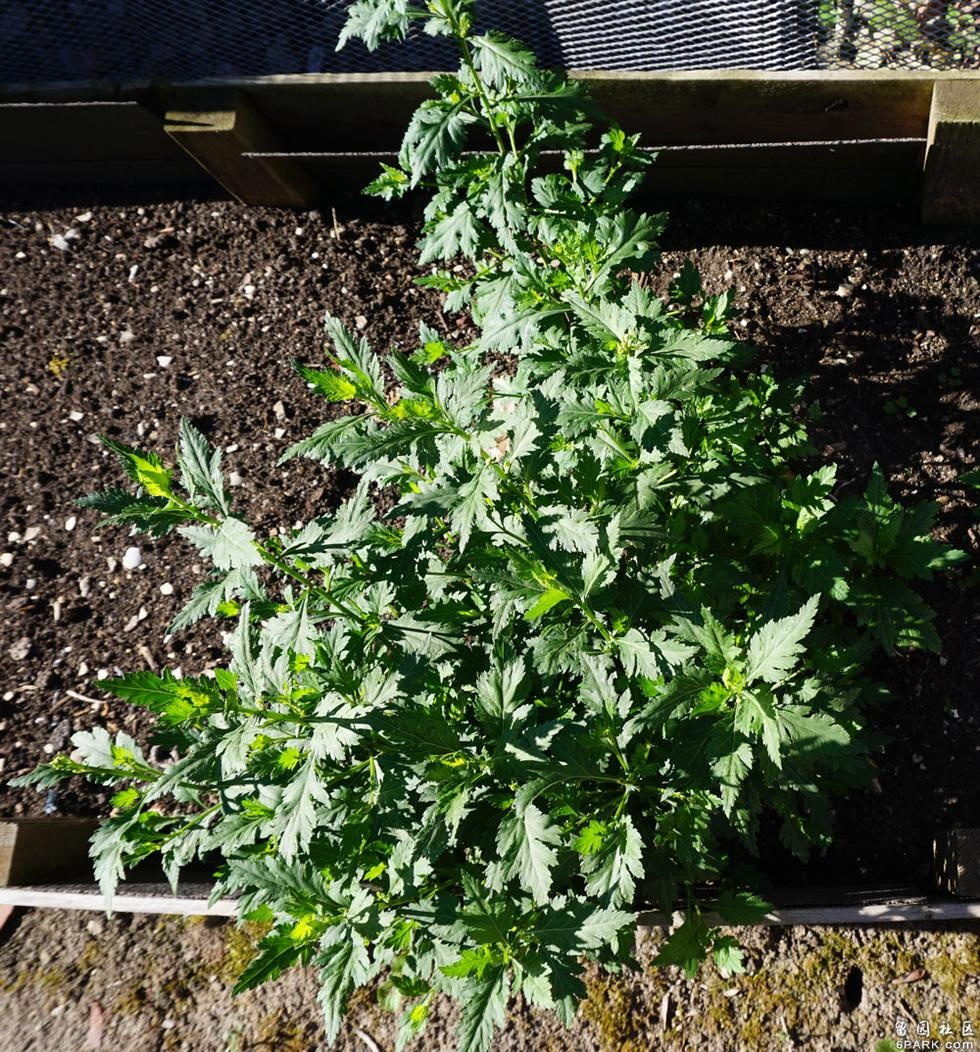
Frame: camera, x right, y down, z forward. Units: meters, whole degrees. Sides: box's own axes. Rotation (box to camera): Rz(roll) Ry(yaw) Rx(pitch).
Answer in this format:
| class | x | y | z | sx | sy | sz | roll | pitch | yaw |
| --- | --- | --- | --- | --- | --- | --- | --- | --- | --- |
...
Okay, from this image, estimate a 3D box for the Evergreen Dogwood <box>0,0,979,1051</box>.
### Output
| class | x | y | z | sx | sy | sz | roll | pitch | yaw |
| --- | --- | --- | --- | --- | --- | --- | --- | --- | --- |
| Evergreen Dogwood | -0.007 | 0.257 | 3.412 | 2.989 | 1.526 | 3.168 | -6 | 86 | 1 |
